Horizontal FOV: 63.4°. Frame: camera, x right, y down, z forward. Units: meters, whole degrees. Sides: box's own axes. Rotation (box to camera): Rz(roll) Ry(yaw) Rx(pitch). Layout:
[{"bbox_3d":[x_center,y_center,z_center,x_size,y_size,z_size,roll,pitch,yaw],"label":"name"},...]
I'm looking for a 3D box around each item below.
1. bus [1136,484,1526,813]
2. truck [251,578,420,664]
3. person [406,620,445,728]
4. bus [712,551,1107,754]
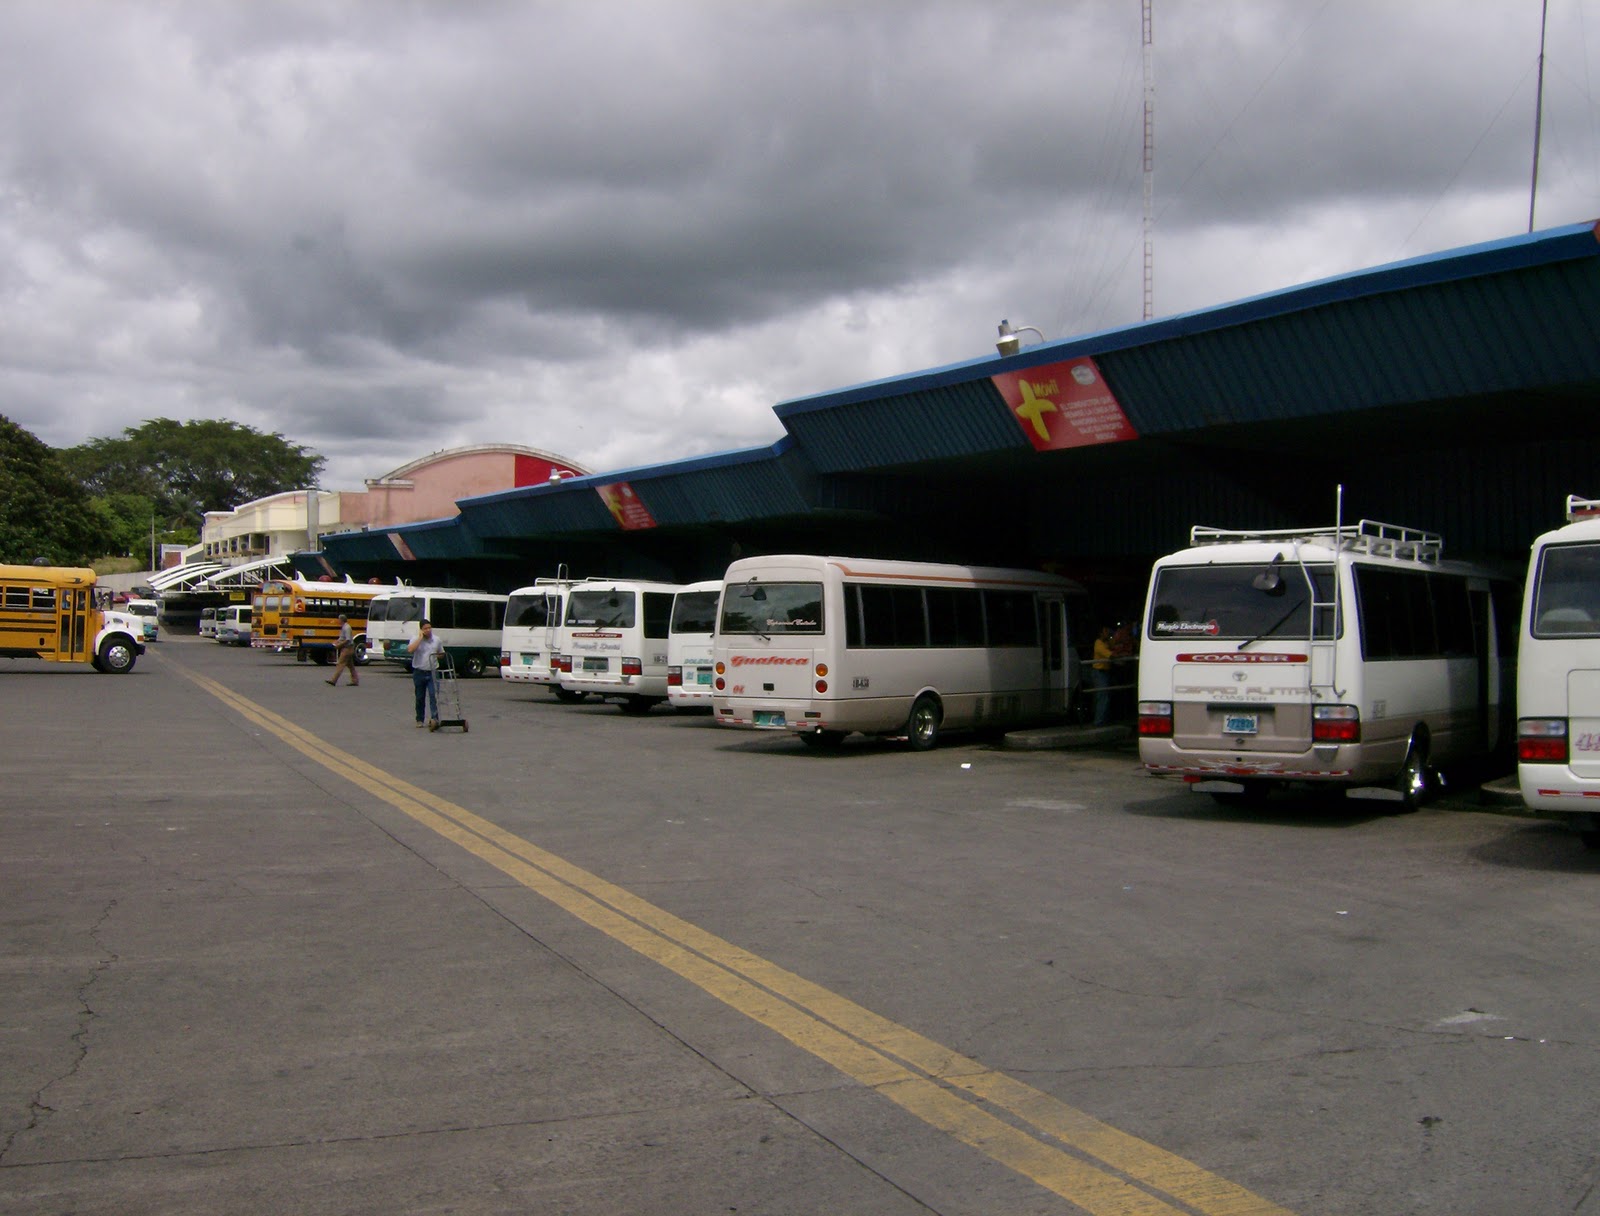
[{"bbox_3d":[7.039,0.579,16.509,2.647,2.854,7.267,3,1,39],"label":"bus"},{"bbox_3d":[-19.609,0.312,52.364,3.440,2.573,5.956,6,1,20],"label":"truck"},{"bbox_3d":[-6.743,1.143,23.405,0.444,1.868,1.541,2,-4,-18],"label":"person"},{"bbox_3d":[2.158,0.694,23.974,3.082,2.766,8.586,-1,-2,37],"label":"bus"}]
